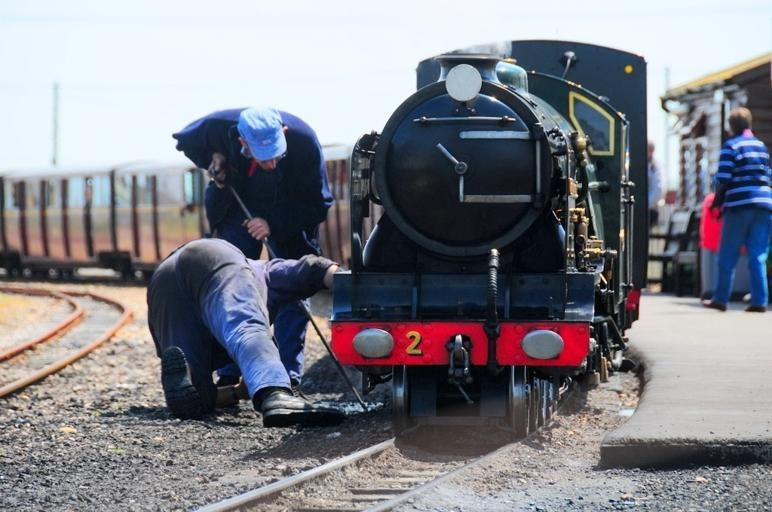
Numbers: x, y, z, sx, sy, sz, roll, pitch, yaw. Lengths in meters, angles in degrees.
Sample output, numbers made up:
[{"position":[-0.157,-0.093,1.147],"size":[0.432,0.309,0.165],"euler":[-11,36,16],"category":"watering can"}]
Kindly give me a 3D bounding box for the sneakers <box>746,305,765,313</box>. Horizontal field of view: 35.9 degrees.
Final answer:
[{"position":[4.938,0.724,15.912],"size":[0.249,0.112,0.094],"euler":[6,6,30],"category":"sneakers"}]

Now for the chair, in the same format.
[{"position":[5.336,-0.300,22.346],"size":[0.717,1.339,2.227],"euler":[-8,24,16],"category":"chair"}]

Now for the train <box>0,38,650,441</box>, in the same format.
[{"position":[1.132,-0.265,12.425],"size":[2.927,3.693,3.077],"euler":[0,14,10],"category":"train"}]
